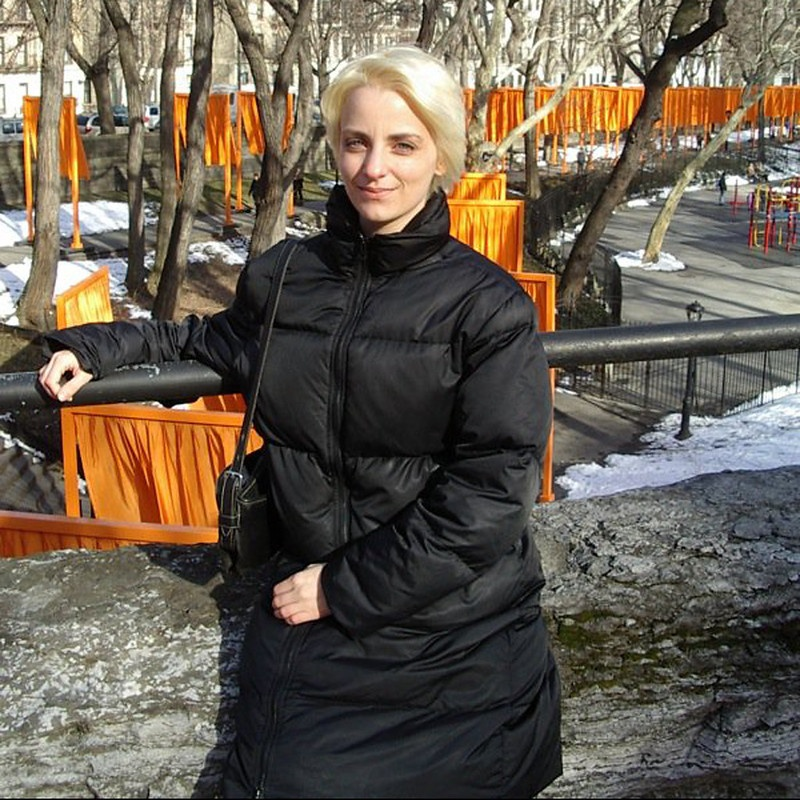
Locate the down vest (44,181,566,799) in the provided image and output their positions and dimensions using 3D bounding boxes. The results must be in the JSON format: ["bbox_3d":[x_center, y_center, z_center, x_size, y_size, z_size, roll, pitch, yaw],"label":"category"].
[{"bbox_3d":[-0.023,0.171,1.940,0.757,1.249,0.699,3,9,14],"label":"down vest"}]
